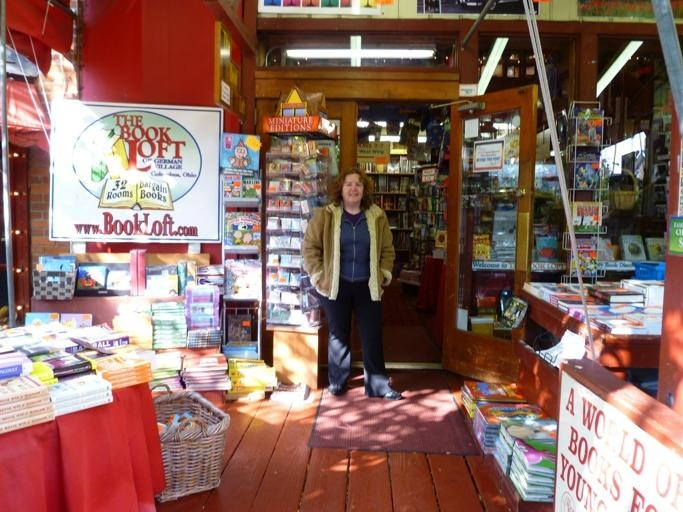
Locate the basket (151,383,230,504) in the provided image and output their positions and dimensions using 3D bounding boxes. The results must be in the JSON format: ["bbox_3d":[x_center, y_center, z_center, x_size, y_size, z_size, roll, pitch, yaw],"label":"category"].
[{"bbox_3d":[-1.002,1.208,3.592,0.428,0.462,0.614,0,0,-21],"label":"basket"}]

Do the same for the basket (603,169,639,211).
[{"bbox_3d":[2.968,-0.683,5.700,0.552,0.420,0.300,-3,9,-21],"label":"basket"}]

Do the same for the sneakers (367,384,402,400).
[{"bbox_3d":[0.377,1.206,4.779,0.307,0.165,0.128,-1,-4,8],"label":"sneakers"}]

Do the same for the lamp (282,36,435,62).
[{"bbox_3d":[0.182,-2.065,5.427,1.510,0.252,0.128,1,8,3],"label":"lamp"}]

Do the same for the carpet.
[{"bbox_3d":[0.396,1.261,4.536,1.220,0.064,1.399,1,9,2],"label":"carpet"}]

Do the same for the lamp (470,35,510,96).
[{"bbox_3d":[1.506,-1.880,5.425,0.321,0.543,0.254,1,8,1],"label":"lamp"}]

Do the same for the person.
[{"bbox_3d":[0.084,0.251,4.682,0.837,1.959,0.339,0,7,-5],"label":"person"}]

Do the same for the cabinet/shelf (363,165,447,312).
[{"bbox_3d":[1.064,-0.254,8.451,0.649,2.535,2.333,0,6,-3],"label":"cabinet/shelf"}]
